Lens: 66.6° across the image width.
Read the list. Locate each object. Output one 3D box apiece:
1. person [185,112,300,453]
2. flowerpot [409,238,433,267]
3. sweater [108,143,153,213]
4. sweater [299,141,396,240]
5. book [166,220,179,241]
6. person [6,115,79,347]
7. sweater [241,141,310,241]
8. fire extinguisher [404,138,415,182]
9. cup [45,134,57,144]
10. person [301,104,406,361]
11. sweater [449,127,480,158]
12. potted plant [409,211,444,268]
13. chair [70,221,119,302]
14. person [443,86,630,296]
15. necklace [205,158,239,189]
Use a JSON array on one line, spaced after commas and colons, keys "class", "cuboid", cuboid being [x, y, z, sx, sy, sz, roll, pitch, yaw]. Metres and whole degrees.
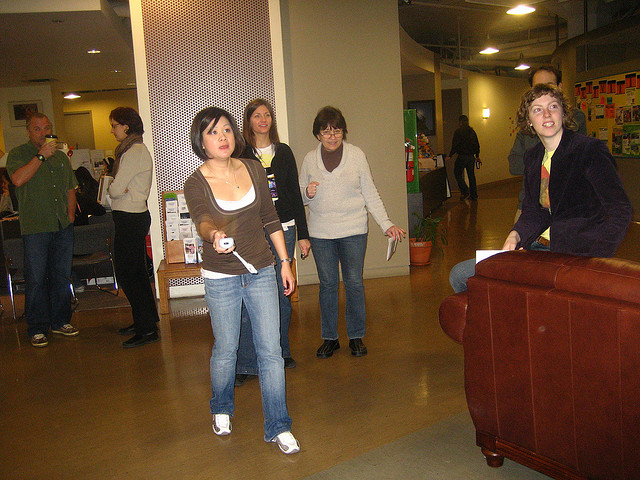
[{"class": "person", "cuboid": [-0.430, 0.238, 2.728, 0.557, 1.889, 0.592, -4, 10, -4]}, {"class": "flowerpot", "cuboid": [1.354, 0.142, 6.711, 0.359, 0.305, 0.358, -7, 10, -32]}, {"class": "sweater", "cuboid": [-1.793, -0.637, 4.539, 0.385, 0.689, 0.512, 5, 16, -17]}, {"class": "sweater", "cuboid": [0.208, -0.394, 3.871, 0.806, 0.756, 0.446, 0, 13, 16]}, {"class": "book", "cuboid": [-1.719, -0.117, 5.626, 0.164, 0.215, 0.050, 2, 4, -1]}, {"class": "person", "cuboid": [-2.652, -0.112, 4.704, 0.607, 2.143, 0.401, -10, 12, -33]}, {"class": "sweater", "cuboid": [-0.247, -0.356, 3.640, 0.260, 0.730, 0.166, -7, 10, -20]}, {"class": "fire extinguisher", "cuboid": [1.405, -1.238, 7.561, 0.134, 0.683, 0.236, -2, 10, 10]}, {"class": "cup", "cuboid": [-2.564, -0.955, 4.599, 0.095, 0.094, 0.153, -10, 12, -30]}, {"class": "person", "cuboid": [0.204, -0.073, 3.943, 0.674, 1.974, 0.554, -4, 10, -2]}, {"class": "sweater", "cuboid": [3.962, -2.657, 13.198, 0.918, 0.897, 0.463, 6, 16, -2]}, {"class": "potted plant", "cuboid": [1.433, -0.023, 6.777, 0.467, 0.672, 0.378, 15, 12, 43]}, {"class": "chair", "cuboid": [-2.983, 0.245, 6.268, 0.672, 0.940, 0.667, 0, 7, 37]}, {"class": "person", "cuboid": [1.202, -0.153, 2.718, 0.815, 1.347, 0.926, -16, 13, -41]}, {"class": "necklace", "cuboid": [-0.552, -0.362, 2.715, 0.167, 0.157, 0.112, -6, 10, -12]}]
